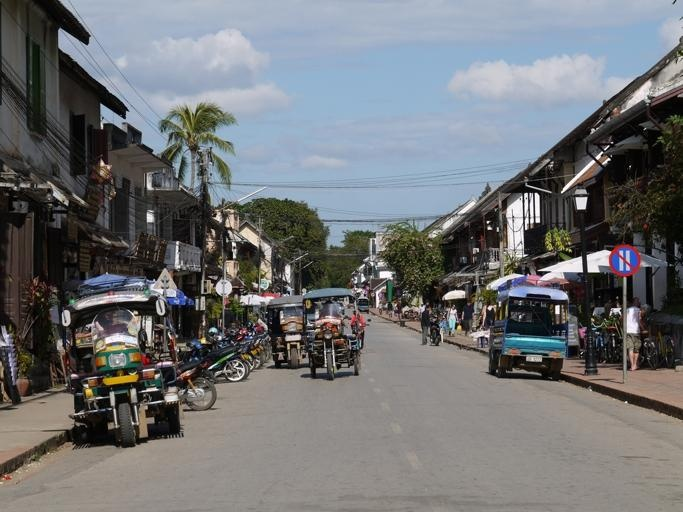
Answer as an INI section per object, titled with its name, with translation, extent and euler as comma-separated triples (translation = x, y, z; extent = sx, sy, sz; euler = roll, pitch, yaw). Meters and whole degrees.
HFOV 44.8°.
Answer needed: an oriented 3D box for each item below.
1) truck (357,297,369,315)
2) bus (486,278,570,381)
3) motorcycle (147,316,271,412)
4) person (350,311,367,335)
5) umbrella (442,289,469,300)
[truck]
translation = 1.444, 3.157, 54.736
extent = 0.823, 1.277, 2.467
euler = -1, -6, -2
[bus]
translation = 5.689, 2.257, 25.232
extent = 1.799, 2.176, 3.336
euler = 1, 1, 1
[motorcycle]
translation = -3.616, 2.925, 20.889
extent = 2.741, 1.907, 1.459
euler = -3, -2, 34
[person]
translation = 0.602, 2.905, 35.675
extent = 0.887, 0.988, 1.431
euler = 1, 4, 5
[umbrella]
translation = 8.534, 2.921, 62.161
extent = 1.443, 0.632, 1.500
euler = 2, -4, -24
